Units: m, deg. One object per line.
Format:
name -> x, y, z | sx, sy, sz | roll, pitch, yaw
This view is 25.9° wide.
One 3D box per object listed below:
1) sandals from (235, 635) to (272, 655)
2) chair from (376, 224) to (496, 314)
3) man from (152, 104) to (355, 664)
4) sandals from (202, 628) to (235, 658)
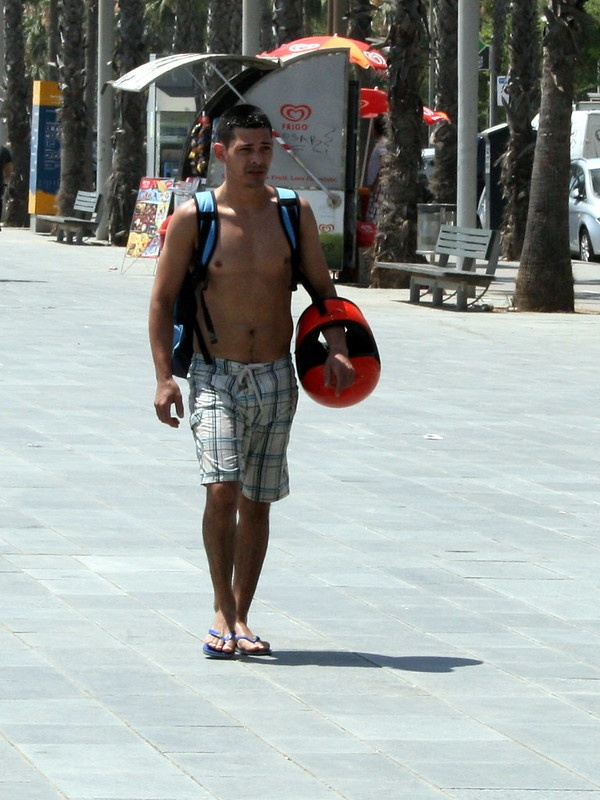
sandals -> -0.143, 0.752, 3.967 | 0.119, 0.055, 0.067 | 2, 10, 4
chair -> 1.702, -1.639, 16.101 | 1.019, 0.791, 1.882 | -11, 13, -13
man -> -0.207, -0.074, 4.022 | 0.561, 1.680, 0.606 | 4, 12, 4
sandals -> -0.242, 0.738, 3.928 | 0.117, 0.061, 0.268 | 3, 0, -5
